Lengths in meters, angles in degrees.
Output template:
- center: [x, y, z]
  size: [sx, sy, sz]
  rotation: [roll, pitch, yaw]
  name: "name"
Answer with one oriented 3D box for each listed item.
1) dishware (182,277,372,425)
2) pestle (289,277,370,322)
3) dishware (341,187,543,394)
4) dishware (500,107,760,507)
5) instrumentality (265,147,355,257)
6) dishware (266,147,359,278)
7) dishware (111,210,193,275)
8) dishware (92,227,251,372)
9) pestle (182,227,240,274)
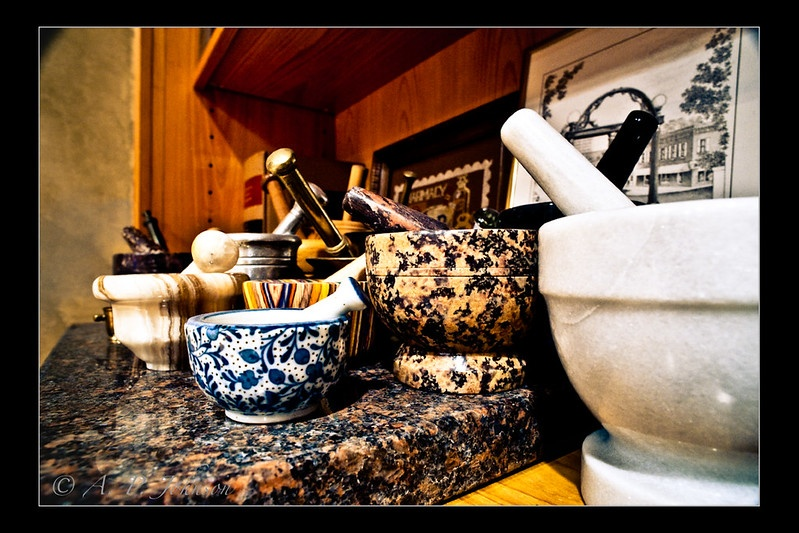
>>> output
- center: [-0.187, 0.118, 0.883]
  size: [0.249, 0.154, 0.186]
  rotation: [0, -4, -18]
  name: "dishware"
- center: [-0.096, 0.056, 0.914]
  size: [0.128, 0.047, 0.043]
  rotation: [-21, 48, -7]
  name: "pestle"
- center: [0.119, 0.044, 0.919]
  size: [0.323, 0.271, 0.261]
  rotation: [-1, -3, 17]
  name: "dishware"
- center: [0.214, 0.115, 0.975]
  size: [0.407, 0.524, 0.385]
  rotation: [-1, -3, 2]
  name: "dishware"
- center: [-0.160, -0.087, 1.261]
  size: [0.081, 0.355, 0.099]
  rotation: [-16, 41, 17]
  name: "instrumentality"
- center: [-0.157, -0.082, 1.299]
  size: [0.105, 0.099, 0.404]
  rotation: [-18, -30, 1]
  name: "dishware"
- center: [-0.599, -0.073, 1.501]
  size: [0.198, 0.173, 0.192]
  rotation: [4, 2, 29]
  name: "dishware"
- center: [-0.415, 0.061, 1.133]
  size: [0.275, 0.244, 0.261]
  rotation: [2, -4, -23]
  name: "dishware"
- center: [-0.329, -0.015, 1.083]
  size: [0.087, 0.073, 0.099]
  rotation: [-10, 6, -19]
  name: "pestle"
